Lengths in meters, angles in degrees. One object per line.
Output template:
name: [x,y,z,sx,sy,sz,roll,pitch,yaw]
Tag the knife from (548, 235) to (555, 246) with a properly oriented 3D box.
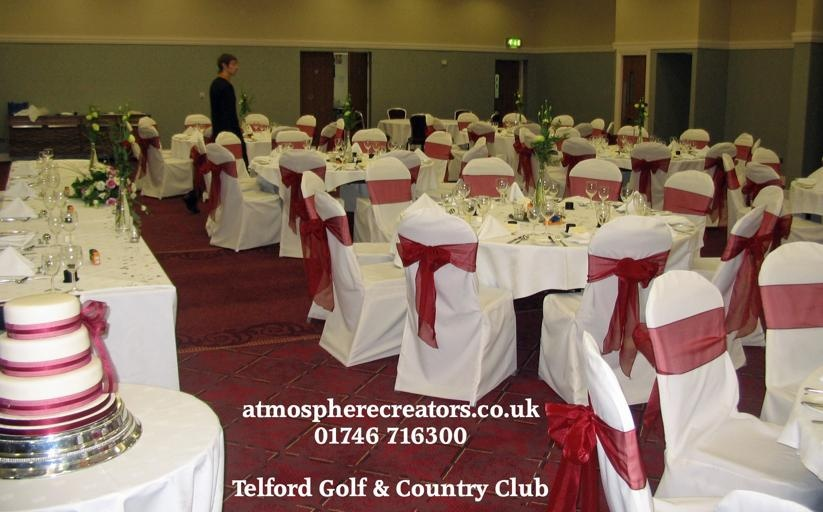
knife: [1.085,-0.129,4.618,0.030,0.043,0.107,2,37,-13]
